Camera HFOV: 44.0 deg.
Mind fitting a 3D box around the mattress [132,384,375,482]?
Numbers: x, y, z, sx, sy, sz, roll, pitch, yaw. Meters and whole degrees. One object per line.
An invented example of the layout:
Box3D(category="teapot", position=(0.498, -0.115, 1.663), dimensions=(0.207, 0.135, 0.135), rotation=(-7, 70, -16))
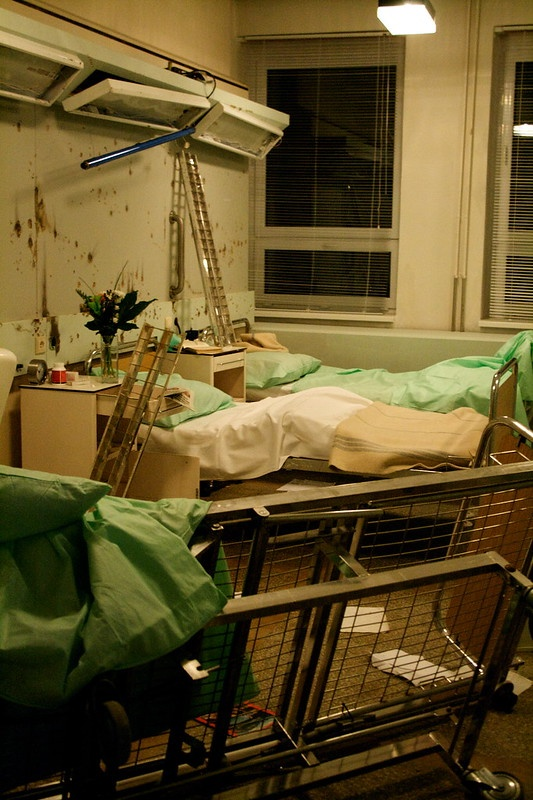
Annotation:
Box3D(category="mattress", position=(-0.044, 0.177, 3.508), dimensions=(0.881, 0.289, 0.559), rotation=(-11, 12, 14))

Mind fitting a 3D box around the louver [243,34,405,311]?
Box3D(category="louver", position=(0.517, -2.031, 6.029), dimensions=(1.451, 2.376, 0.163), rotation=(5, 10, 15))

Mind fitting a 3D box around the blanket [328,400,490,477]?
Box3D(category="blanket", position=(0.656, 0.204, 3.141), dimensions=(0.477, 0.139, 0.463), rotation=(-2, 15, 16))

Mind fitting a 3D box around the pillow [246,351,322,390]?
Box3D(category="pillow", position=(0.095, -0.241, 4.874), dimensions=(0.328, 0.105, 0.366), rotation=(8, 20, 38))
